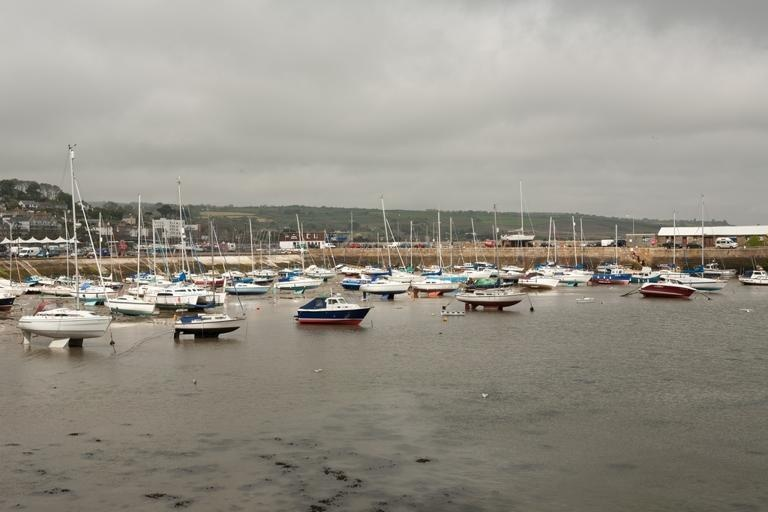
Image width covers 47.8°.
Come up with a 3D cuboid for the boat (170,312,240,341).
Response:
[{"bbox_3d":[-11.521,4.527,56.012,4.583,1.470,1.720,-1,5,-2],"label":"boat"}]

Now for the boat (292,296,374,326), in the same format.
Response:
[{"bbox_3d":[-3.743,3.853,61.571,5.861,1.956,1.960,0,4,15],"label":"boat"}]
